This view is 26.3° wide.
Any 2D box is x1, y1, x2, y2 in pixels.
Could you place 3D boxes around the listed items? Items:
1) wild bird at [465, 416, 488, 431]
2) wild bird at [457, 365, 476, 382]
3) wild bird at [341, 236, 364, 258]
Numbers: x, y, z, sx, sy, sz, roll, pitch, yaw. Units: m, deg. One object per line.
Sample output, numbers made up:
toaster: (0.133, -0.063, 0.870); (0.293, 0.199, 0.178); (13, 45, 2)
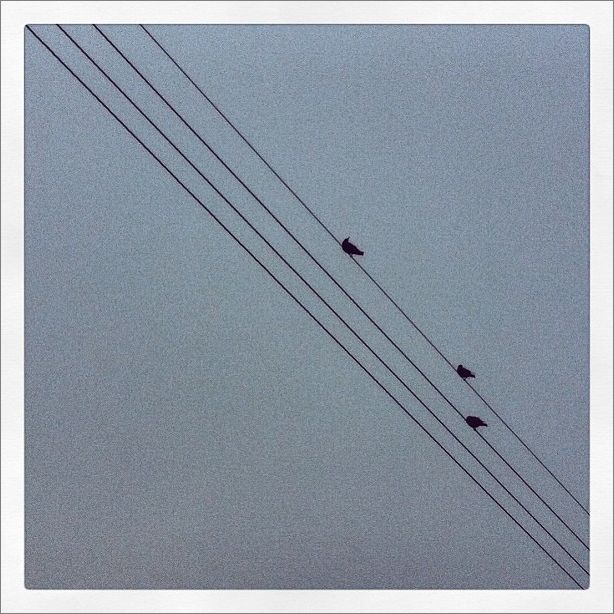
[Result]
wild bird: (0.990, 0.684, 7.674); (0.097, 0.072, 0.073); (-13, -100, -14)
wild bird: (0.918, 0.394, 7.668); (0.106, 0.076, 0.065); (12, -84, -23)
wild bird: (0.252, -0.331, 7.632); (0.132, 0.080, 0.109); (8, -77, 19)
